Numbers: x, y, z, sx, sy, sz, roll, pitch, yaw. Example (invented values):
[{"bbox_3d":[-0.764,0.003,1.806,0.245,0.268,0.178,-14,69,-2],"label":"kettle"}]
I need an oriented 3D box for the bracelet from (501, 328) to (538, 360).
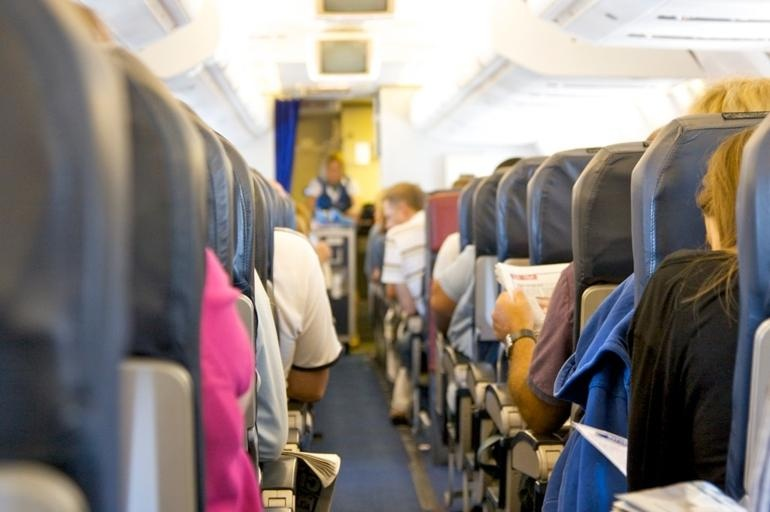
[{"bbox_3d":[0.445,0.276,2.601,0.111,0.114,0.077,-8,15,3],"label":"bracelet"}]
